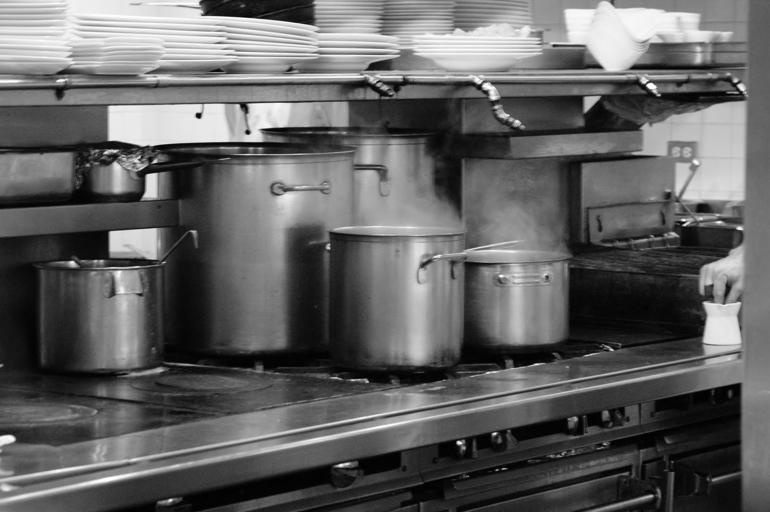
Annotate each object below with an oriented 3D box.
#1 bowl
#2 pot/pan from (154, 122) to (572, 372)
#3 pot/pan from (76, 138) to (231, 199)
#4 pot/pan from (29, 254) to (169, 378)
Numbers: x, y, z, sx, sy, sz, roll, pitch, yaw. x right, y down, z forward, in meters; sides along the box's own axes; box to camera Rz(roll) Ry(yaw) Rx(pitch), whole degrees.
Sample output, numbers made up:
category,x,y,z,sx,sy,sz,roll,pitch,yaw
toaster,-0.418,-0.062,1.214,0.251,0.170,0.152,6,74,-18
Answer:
category,x,y,z,sx,sy,sz,roll,pitch,yaw
bowl,0.820,-0.714,2.967,0.280,0.059,0.264,-1,9,0
pot/pan,-0.130,-0.044,2.455,0.890,0.430,0.648,0,3,-14
pot/pan,-0.553,-0.203,2.219,0.309,0.079,0.155,3,5,4
pot/pan,-0.644,0.138,2.266,0.336,0.208,0.324,1,0,-30
